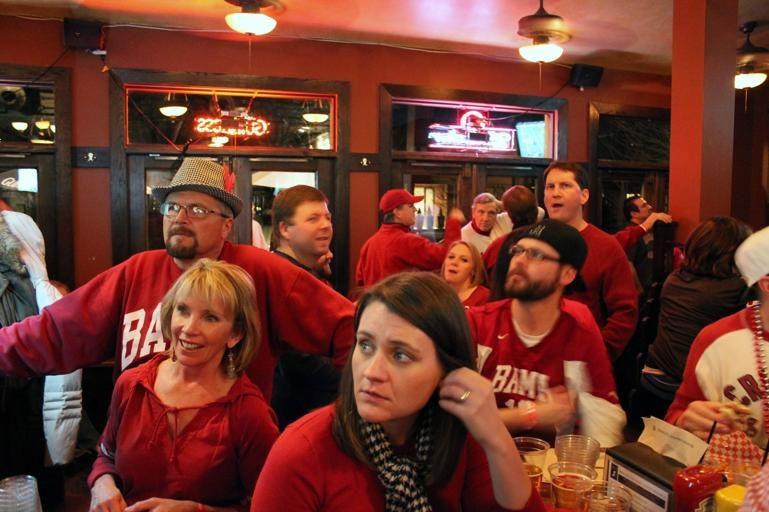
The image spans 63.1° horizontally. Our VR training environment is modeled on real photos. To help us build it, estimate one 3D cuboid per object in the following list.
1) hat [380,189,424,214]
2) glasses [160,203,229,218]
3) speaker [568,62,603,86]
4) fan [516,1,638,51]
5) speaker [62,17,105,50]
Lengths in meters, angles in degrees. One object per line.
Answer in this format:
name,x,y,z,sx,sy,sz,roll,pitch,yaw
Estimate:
hat,0.152,-0.530,5.639,0.359,0.169,0.215,-15,9,-3
glasses,-0.978,-0.225,3.132,0.124,0.043,0.164,1,-5,13
speaker,2.532,-2.250,7.877,0.410,0.273,0.182,-1,5,-23
fan,1.888,-2.340,6.455,0.869,0.352,0.601,1,0,-21
speaker,-3.068,-2.266,6.426,0.388,0.268,0.197,2,26,-24
